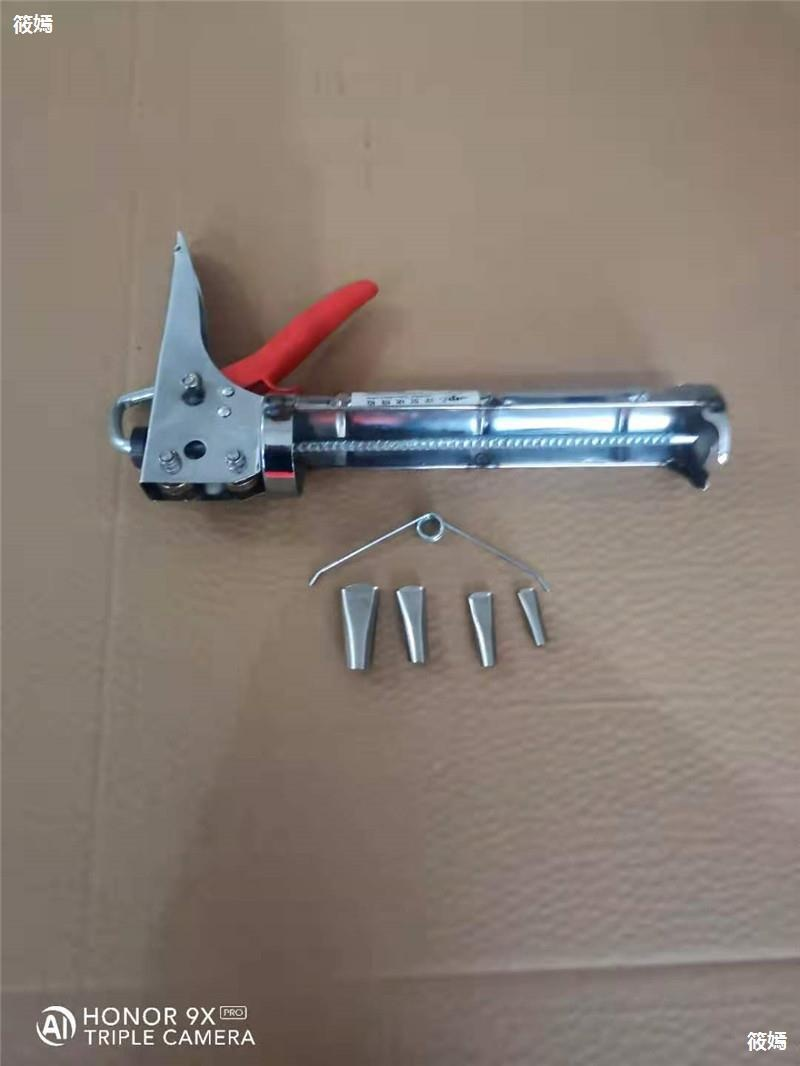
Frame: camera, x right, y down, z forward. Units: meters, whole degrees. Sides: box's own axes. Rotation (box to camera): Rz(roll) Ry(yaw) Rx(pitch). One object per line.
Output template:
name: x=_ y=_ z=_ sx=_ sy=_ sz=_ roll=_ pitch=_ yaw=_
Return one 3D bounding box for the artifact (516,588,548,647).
artifact: x=0.152 y=0.095 z=1.482 sx=0.038 sy=0.018 sz=0.060 roll=-4 pitch=78 yaw=1
